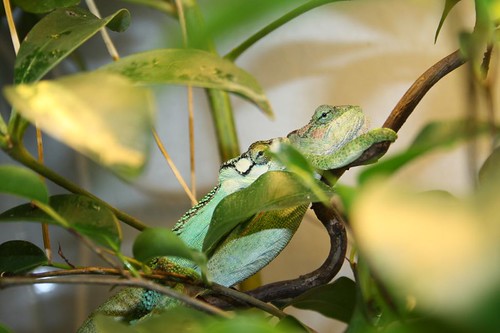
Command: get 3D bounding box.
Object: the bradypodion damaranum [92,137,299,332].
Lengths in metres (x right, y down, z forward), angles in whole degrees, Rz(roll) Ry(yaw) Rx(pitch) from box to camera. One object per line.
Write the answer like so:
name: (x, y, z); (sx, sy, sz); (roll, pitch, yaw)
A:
bradypodion damaranum: (-0.091, 0.194, 1.606); (0.642, 0.230, 0.347); (-34, 21, 6)
